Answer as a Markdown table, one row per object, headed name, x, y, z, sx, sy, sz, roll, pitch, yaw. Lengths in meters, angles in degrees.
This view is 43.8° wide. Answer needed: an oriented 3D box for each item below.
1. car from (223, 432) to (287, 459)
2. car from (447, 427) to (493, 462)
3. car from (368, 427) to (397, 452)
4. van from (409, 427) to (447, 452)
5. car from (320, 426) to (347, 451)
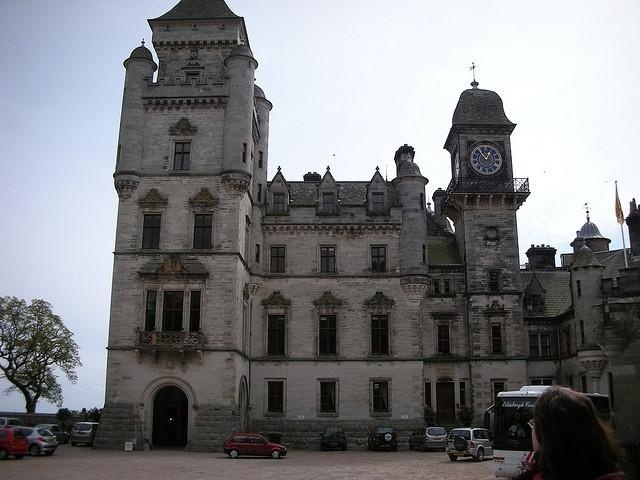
| name | x | y | z | sx | sy | sz | roll | pitch | yaw |
| --- | --- | --- | --- | --- | --- | --- | --- | --- | --- |
| car | -4.047 | 12.475 | 48.391 | 3.508 | 1.267 | 1.548 | 0 | -10 | -4 |
| car | 9.309 | 12.546 | 48.908 | 3.999 | 1.852 | 2.006 | 11 | -15 | -44 |
| car | 4.174 | 13.493 | 54.086 | 2.003 | 1.539 | 0.971 | -4 | -12 | 20 |
| van | 7.236 | 13.470 | 54.001 | 1.388 | 1.048 | 2.751 | 1 | -8 | -9 |
| car | 0.846 | 13.556 | 54.327 | 1.188 | 0.869 | 1.968 | 0 | -4 | -1 |
